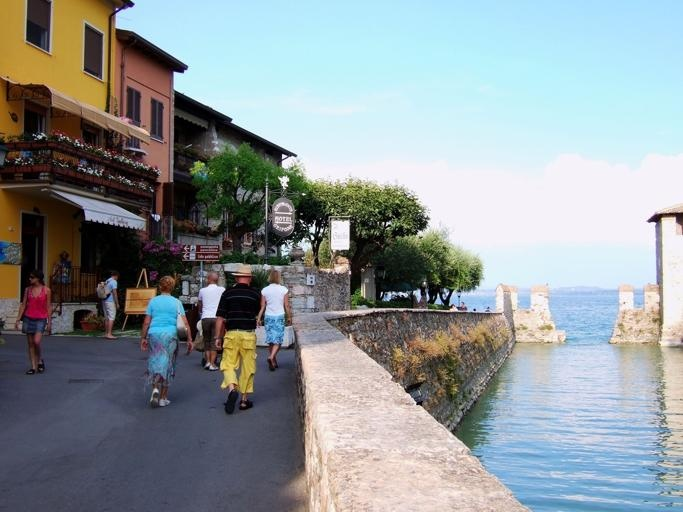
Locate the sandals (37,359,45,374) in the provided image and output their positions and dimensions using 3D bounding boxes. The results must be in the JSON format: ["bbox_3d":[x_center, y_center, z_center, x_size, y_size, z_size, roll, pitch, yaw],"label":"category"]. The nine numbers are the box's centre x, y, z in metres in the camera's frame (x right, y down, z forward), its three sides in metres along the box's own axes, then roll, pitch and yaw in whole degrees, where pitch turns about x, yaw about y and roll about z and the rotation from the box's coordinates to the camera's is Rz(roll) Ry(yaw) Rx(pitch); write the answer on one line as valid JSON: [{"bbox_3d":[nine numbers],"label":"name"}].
[{"bbox_3d":[-5.910,2.190,13.029,0.090,0.254,0.067,-3,-18,-8],"label":"sandals"}]

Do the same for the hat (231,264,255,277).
[{"bbox_3d":[-1.629,0.248,11.089,0.415,0.184,0.475,4,-2,-7],"label":"hat"}]

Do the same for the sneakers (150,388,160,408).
[{"bbox_3d":[-2.895,2.216,10.341,0.114,0.322,0.140,4,-5,-23],"label":"sneakers"}]

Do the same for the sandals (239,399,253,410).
[{"bbox_3d":[-1.479,2.312,10.326,0.207,0.130,0.272,1,-3,-7],"label":"sandals"}]

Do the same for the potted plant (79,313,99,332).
[{"bbox_3d":[-8.310,2.209,21.968,0.552,0.459,0.562,0,-8,-2],"label":"potted plant"}]

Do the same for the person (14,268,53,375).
[{"bbox_3d":[-6.046,1.293,13.023,0.542,1.994,1.074,1,-2,-26],"label":"person"}]

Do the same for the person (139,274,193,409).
[{"bbox_3d":[-2.829,1.351,10.732,0.717,2.054,0.871,1,-2,-14],"label":"person"}]

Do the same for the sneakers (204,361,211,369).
[{"bbox_3d":[-2.808,2.314,13.947,0.107,0.103,0.237,1,-8,-7],"label":"sneakers"}]

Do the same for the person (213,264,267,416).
[{"bbox_3d":[-1.645,1.263,10.566,0.698,2.278,1.164,1,-2,-10],"label":"person"}]

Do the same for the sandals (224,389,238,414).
[{"bbox_3d":[-1.668,2.209,10.048,0.151,0.391,0.161,12,-8,-16],"label":"sandals"}]
